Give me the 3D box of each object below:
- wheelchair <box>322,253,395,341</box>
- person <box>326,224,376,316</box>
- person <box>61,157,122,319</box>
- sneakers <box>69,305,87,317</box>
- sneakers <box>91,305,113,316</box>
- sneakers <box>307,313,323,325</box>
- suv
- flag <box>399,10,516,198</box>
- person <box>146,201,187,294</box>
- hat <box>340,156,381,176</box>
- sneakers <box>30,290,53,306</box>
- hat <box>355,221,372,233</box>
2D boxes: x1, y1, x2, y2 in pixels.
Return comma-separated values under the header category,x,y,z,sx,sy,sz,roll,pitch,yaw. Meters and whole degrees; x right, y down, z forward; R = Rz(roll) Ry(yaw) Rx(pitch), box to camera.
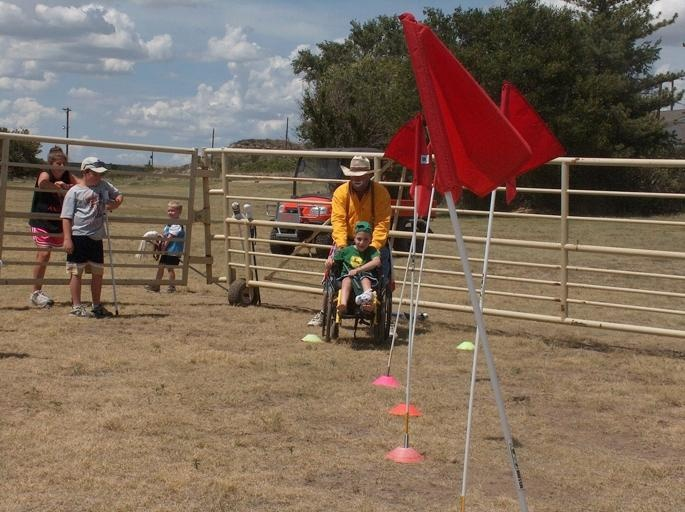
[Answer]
category,x,y,z,sx,sy,sz,roll,pitch,yaw
wheelchair,0.160,0.565,8.143,0.652,0.975,1.072,0,-36,5
person,0.110,0.226,7.831,0.639,1.210,0.661,1,10,-2
person,-3.275,-0.239,8.650,0.661,2.056,0.482,-3,11,-24
sneakers,-3.440,0.723,8.683,0.302,0.151,0.107,1,1,14
sneakers,-3.132,0.723,8.743,0.341,0.154,0.115,1,1,-44
sneakers,-0.400,0.868,8.938,0.300,0.157,0.103,-1,-3,31
suv,-0.616,-1.304,15.309,2.221,2.530,3.918,3,1,41
flag,0.808,-1.004,4.295,0.668,1.537,0.199,-27,41,0
person,-2.865,-0.147,10.799,0.535,1.500,0.470,5,1,-30
hat,0.187,-1.112,8.226,0.362,0.267,0.472,2,11,2
sneakers,-4.189,0.597,9.200,0.390,0.190,0.185,5,5,32
hat,0.211,-0.349,7.910,0.138,0.089,0.141,-2,6,-29
